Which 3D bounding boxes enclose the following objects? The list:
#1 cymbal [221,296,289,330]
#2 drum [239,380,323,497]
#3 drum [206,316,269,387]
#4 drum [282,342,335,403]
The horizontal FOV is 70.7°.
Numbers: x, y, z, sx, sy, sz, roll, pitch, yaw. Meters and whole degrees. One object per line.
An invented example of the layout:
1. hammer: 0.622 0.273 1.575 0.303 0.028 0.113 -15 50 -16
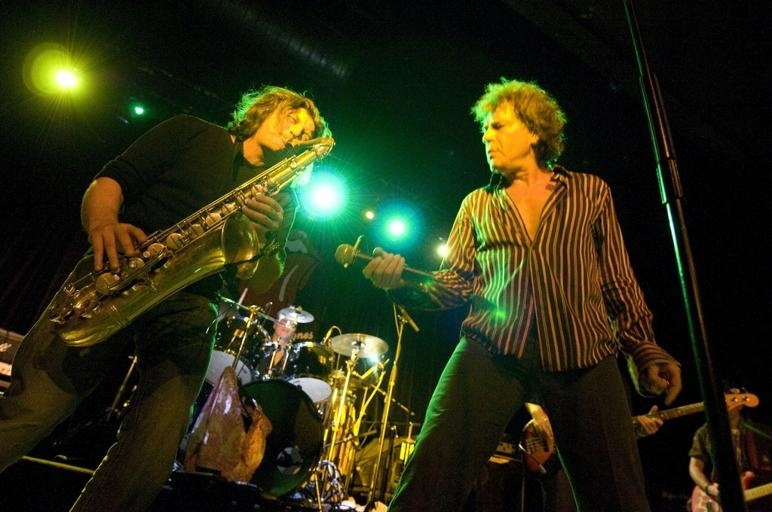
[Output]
1. cymbal: -1.901 0.787 7.487 0.870 0.237 0.859 30 -28 -32
2. drum: -1.072 1.973 6.313 0.837 1.324 1.188 1 -9 -6
3. drum: -1.933 1.175 7.137 0.734 1.020 0.856 1 1 -5
4. drum: -1.098 1.647 7.774 0.714 0.844 0.671 3 -3 0
